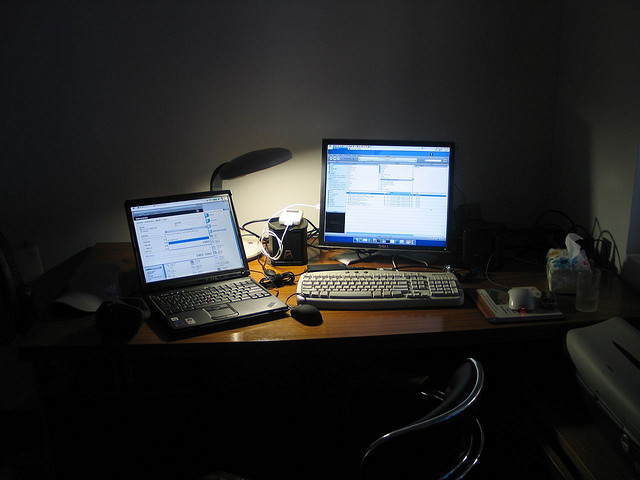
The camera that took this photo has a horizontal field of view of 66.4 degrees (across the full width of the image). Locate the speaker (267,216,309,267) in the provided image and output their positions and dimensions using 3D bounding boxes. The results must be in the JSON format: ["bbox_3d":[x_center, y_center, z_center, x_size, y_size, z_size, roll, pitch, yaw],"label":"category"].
[{"bbox_3d":[-0.130,0.006,2.142,0.177,0.177,0.183,0,10,3],"label":"speaker"}]

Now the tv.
[{"bbox_3d":[0.288,-0.172,2.115,0.524,0.453,0.042,2,6,6],"label":"tv"}]

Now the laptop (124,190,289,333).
[{"bbox_3d":[-0.426,-0.061,1.818,0.502,0.413,0.565,-9,22,-31],"label":"laptop"}]

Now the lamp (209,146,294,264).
[{"bbox_3d":[-0.307,-0.272,2.105,0.287,0.373,0.197,12,23,6],"label":"lamp"}]
